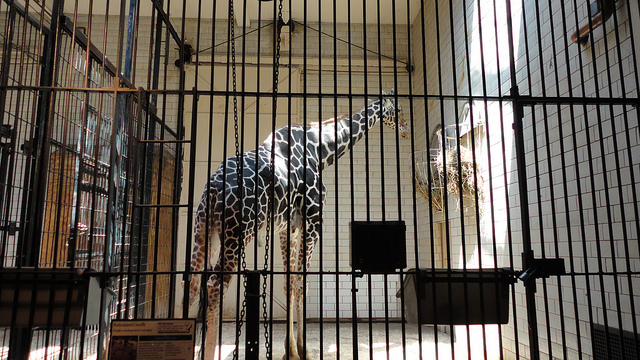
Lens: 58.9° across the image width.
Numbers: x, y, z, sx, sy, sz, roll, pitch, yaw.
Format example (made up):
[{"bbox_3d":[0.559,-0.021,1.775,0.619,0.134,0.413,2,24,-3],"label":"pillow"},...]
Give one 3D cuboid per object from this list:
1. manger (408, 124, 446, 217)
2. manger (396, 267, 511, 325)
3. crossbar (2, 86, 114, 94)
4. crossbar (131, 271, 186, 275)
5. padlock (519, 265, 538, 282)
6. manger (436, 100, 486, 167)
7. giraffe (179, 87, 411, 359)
[{"bbox_3d":[1.653,-0.020,8.632,0.491,1.897,0.698,1,2,-26],"label":"manger"},{"bbox_3d":[1.406,1.218,5.963,1.178,0.581,0.462,-1,-15,3],"label":"manger"},{"bbox_3d":[-2.699,-0.927,6.065,0.770,0.099,0.040,3,-7,-6],"label":"crossbar"},{"bbox_3d":[-1.607,0.935,5.714,0.553,0.036,0.235,-1,-15,5],"label":"crossbar"},{"bbox_3d":[2.139,0.981,5.875,0.036,0.180,0.092,50,-11,-31],"label":"padlock"},{"bbox_3d":[2.230,-0.717,8.199,0.938,1.010,0.932,1,-8,4],"label":"manger"},{"bbox_3d":[-0.528,0.422,6.804,2.578,3.325,1.718,13,-20,-41],"label":"giraffe"}]
